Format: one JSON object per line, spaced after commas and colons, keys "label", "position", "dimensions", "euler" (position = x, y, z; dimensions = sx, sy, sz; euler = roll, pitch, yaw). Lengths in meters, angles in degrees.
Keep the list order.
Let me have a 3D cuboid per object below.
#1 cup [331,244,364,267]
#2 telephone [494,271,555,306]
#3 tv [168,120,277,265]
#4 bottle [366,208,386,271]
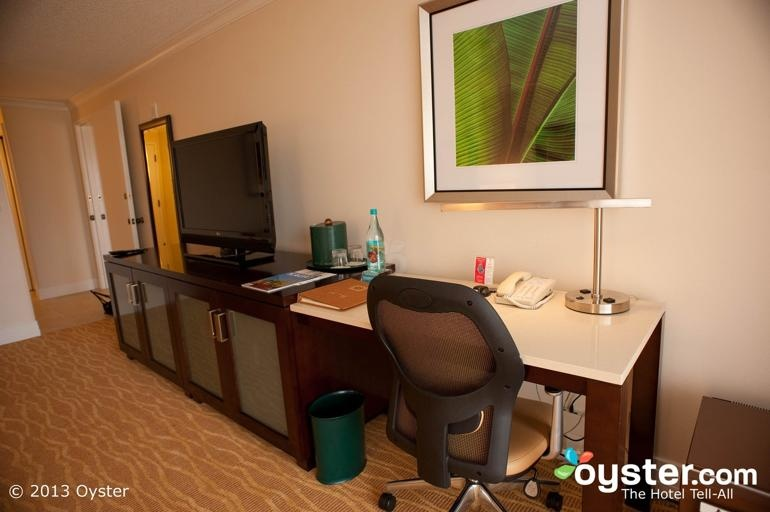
{"label": "cup", "position": [-0.241, -0.008, 3.389], "dimensions": [0.167, 0.116, 0.128], "euler": [5, 8, 41]}
{"label": "telephone", "position": [0.741, 0.169, 2.820], "dimensions": [0.236, 0.108, 0.308], "euler": [7, 18, 38]}
{"label": "tv", "position": [-1.151, -0.428, 3.826], "dimensions": [1.186, 0.888, 0.337], "euler": [5, 13, 41]}
{"label": "bottle", "position": [-0.064, -0.113, 3.320], "dimensions": [0.106, 0.379, 0.308], "euler": [-3, 10, 0]}
